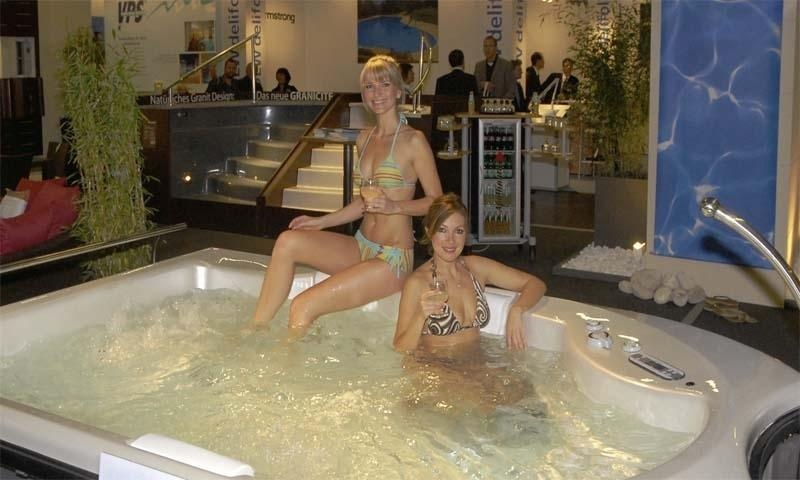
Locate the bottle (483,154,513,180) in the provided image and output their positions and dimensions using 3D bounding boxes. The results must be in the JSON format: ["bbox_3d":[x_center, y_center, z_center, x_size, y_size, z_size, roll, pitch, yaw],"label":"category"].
[{"bbox_3d":[1.167,-0.871,5.890,0.359,0.299,0.078,5,11,8],"label":"bottle"}]

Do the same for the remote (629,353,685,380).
[{"bbox_3d":[1.279,0.620,2.497,0.086,0.024,0.180,-6,12,-23],"label":"remote"}]

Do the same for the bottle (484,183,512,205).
[{"bbox_3d":[1.157,-0.534,5.948,0.258,0.263,0.263,3,2,6],"label":"bottle"}]

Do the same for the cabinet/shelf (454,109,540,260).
[{"bbox_3d":[1.158,-0.619,6.010,0.945,1.622,0.902,0,-3,1],"label":"cabinet/shelf"}]

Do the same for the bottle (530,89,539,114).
[{"bbox_3d":[1.606,-1.637,5.972,0.082,0.234,0.356,6,12,14],"label":"bottle"}]

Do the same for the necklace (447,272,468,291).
[{"bbox_3d":[0.325,0.237,2.841,0.147,0.074,0.030,-9,1,-40],"label":"necklace"}]

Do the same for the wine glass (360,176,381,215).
[{"bbox_3d":[-0.169,-0.250,2.807,0.103,0.194,0.147,4,12,5],"label":"wine glass"}]

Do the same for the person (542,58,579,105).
[{"bbox_3d":[3.032,-2.714,9.368,0.591,1.366,0.437,4,-10,14],"label":"person"}]

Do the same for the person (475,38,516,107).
[{"bbox_3d":[1.547,-2.769,8.039,0.688,1.055,2.375,5,12,8],"label":"person"}]

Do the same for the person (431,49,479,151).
[{"bbox_3d":[0.974,-2.449,8.757,0.652,1.933,0.558,-1,50,8],"label":"person"}]

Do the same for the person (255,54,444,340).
[{"bbox_3d":[-0.367,-0.074,3.131,1.219,2.080,0.844,-1,11,-23],"label":"person"}]

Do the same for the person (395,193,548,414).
[{"bbox_3d":[0.316,0.236,2.971,1.037,1.283,1.031,-2,8,-15],"label":"person"}]
